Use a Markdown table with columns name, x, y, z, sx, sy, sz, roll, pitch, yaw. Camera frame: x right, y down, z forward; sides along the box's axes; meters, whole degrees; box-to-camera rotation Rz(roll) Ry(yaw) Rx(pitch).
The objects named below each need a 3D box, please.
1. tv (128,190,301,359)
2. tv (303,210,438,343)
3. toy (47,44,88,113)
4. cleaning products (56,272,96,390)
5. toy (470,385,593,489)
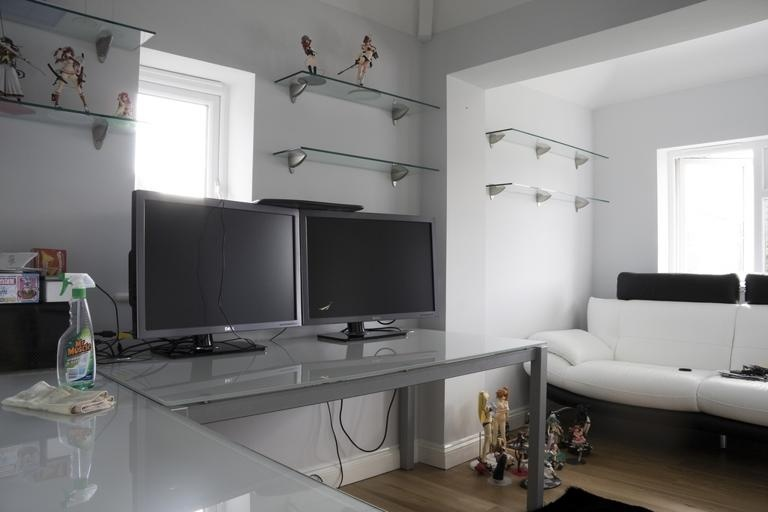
| name | x | y | z | sx | sy | sz | roll | pitch | yaw |
| --- | --- | --- | --- | --- | --- | --- | --- | --- | --- |
| tv | -0.797 | 0.094 | 2.507 | 0.787 | 0.687 | 0.302 | 2 | -8 | -41 |
| tv | -0.095 | 0.113 | 3.048 | 0.891 | 0.677 | 0.271 | 1 | 1 | -36 |
| toy | -1.410 | -0.807 | 2.431 | 0.147 | 0.271 | 0.086 | 1 | 3 | -25 |
| cleaning products | -1.104 | 0.269 | 1.944 | 0.116 | 0.404 | 0.229 | -2 | 4 | -20 |
| toy | 0.992 | 1.047 | 3.533 | 0.679 | 0.451 | 0.667 | -3 | 3 | -20 |
